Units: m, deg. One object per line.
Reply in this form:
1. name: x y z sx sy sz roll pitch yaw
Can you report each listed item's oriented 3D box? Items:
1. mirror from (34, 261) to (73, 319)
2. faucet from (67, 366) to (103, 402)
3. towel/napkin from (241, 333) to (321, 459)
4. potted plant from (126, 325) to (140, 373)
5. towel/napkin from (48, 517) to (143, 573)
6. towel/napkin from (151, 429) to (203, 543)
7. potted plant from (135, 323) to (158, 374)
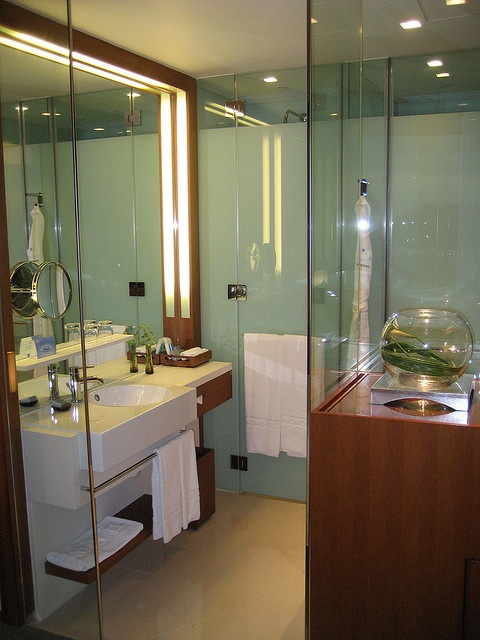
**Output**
1. mirror: -0.674 -0.103 1.929 0.132 0.206 0.016 -10 12 -42
2. faucet: -0.582 0.226 2.071 0.137 0.156 0.052 -1 7 -8
3. towel/napkin: 0.196 0.426 3.000 0.362 0.713 0.092 3 9 28
4. potted plant: -0.513 0.149 2.590 0.048 0.194 0.043 -5 11 -8
5. towel/napkin: -0.572 0.913 2.175 0.137 0.042 0.228 4 7 28
6. towel/napkin: -0.292 0.731 2.357 0.088 0.411 0.362 3 9 27
7. potted plant: -0.479 0.143 2.691 0.077 0.234 0.090 6 -13 29
